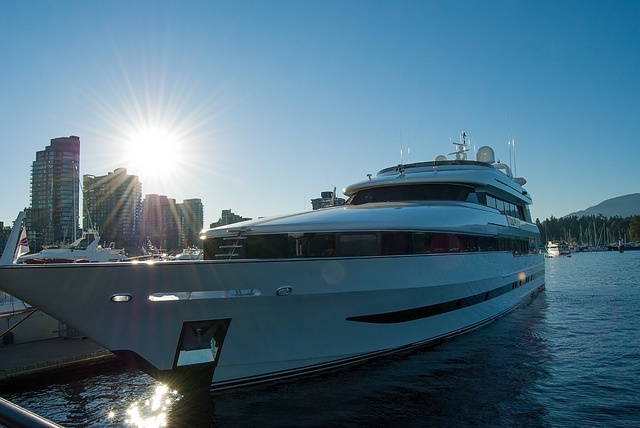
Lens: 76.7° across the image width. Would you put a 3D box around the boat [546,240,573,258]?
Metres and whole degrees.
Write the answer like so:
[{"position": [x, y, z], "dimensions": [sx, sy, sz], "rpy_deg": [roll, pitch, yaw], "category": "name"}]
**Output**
[{"position": [53.844, 8.078, 91.300], "dimensions": [2.953, 3.898, 10.260], "rpy_deg": [4, 10, 35], "category": "boat"}]
